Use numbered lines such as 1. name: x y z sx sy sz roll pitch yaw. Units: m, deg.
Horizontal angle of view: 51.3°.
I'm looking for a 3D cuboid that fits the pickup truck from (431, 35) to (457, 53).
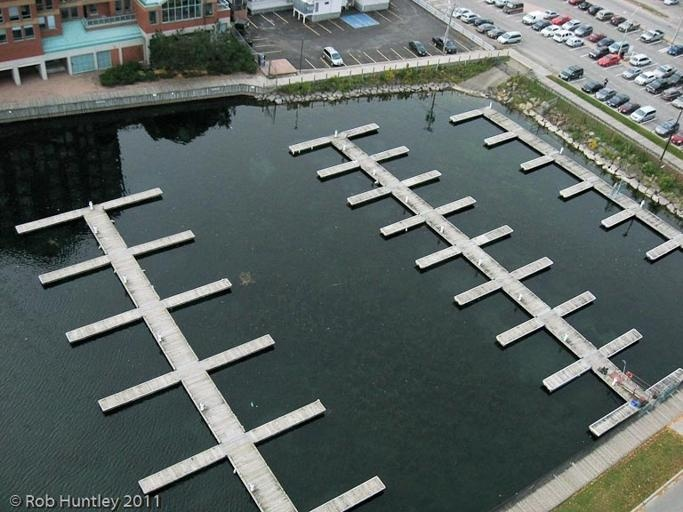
1. pickup truck: 23.206 -47.621 157.272 3.865 2.555 6.249 -14 49 -20
